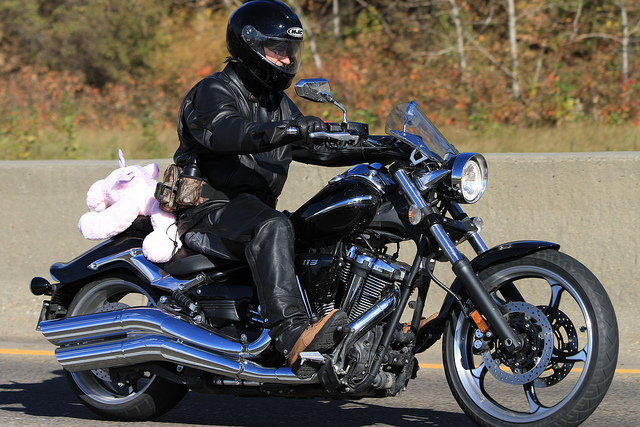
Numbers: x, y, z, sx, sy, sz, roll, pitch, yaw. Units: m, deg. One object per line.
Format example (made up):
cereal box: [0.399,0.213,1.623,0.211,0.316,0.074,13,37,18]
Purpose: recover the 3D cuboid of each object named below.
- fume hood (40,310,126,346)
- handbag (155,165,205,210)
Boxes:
fume hood: [-2.246,1.181,10.160,1.258,0.294,0.332,-4,38,18]
handbag: [-1.290,-0.271,9.961,0.528,0.412,0.344,2,-2,6]
